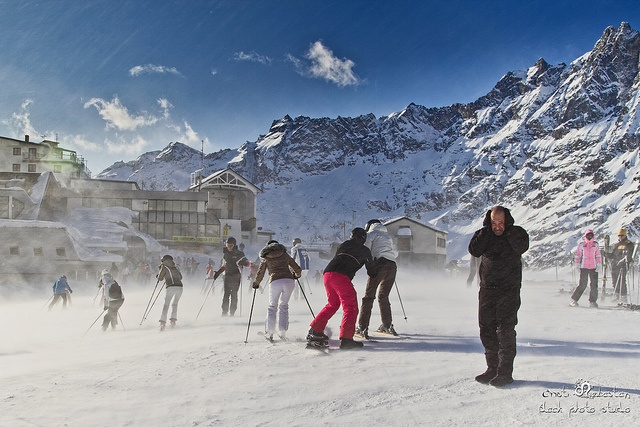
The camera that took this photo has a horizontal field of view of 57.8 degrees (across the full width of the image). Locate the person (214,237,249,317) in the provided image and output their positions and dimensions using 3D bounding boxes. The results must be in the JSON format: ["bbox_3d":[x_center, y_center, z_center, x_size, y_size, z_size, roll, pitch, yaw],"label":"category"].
[{"bbox_3d":[-2.847,2.074,18.885,1.021,2.622,1.328,-3,5,-12],"label":"person"}]

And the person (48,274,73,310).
[{"bbox_3d":[-11.314,3.412,25.199,0.789,1.490,1.927,-4,5,-25],"label":"person"}]

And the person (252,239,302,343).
[{"bbox_3d":[-1.082,1.988,15.006,1.169,2.500,0.956,-2,4,-3],"label":"person"}]

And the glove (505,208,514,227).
[{"bbox_3d":[3.973,0.067,12.245,0.249,0.330,0.294,-5,-18,4],"label":"glove"}]

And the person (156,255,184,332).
[{"bbox_3d":[-4.676,2.422,18.062,0.711,2.226,1.089,-3,4,-7],"label":"person"}]

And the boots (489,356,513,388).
[{"bbox_3d":[3.761,3.301,12.145,0.541,0.538,0.265,-12,0,-6],"label":"boots"}]

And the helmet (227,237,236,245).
[{"bbox_3d":[-2.854,0.851,18.606,0.264,0.273,0.202,-2,-14,28],"label":"helmet"}]

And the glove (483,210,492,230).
[{"bbox_3d":[3.553,0.126,12.296,0.133,0.325,0.234,20,-16,-23],"label":"glove"}]

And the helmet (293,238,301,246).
[{"bbox_3d":[-0.835,1.015,21.181,0.263,0.253,0.257,0,0,7],"label":"helmet"}]

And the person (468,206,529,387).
[{"bbox_3d":[3.758,1.706,12.220,1.093,3.734,0.796,-1,5,16],"label":"person"}]

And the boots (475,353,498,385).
[{"bbox_3d":[3.529,3.268,12.301,0.685,0.662,0.327,-2,-13,-12],"label":"boots"}]
